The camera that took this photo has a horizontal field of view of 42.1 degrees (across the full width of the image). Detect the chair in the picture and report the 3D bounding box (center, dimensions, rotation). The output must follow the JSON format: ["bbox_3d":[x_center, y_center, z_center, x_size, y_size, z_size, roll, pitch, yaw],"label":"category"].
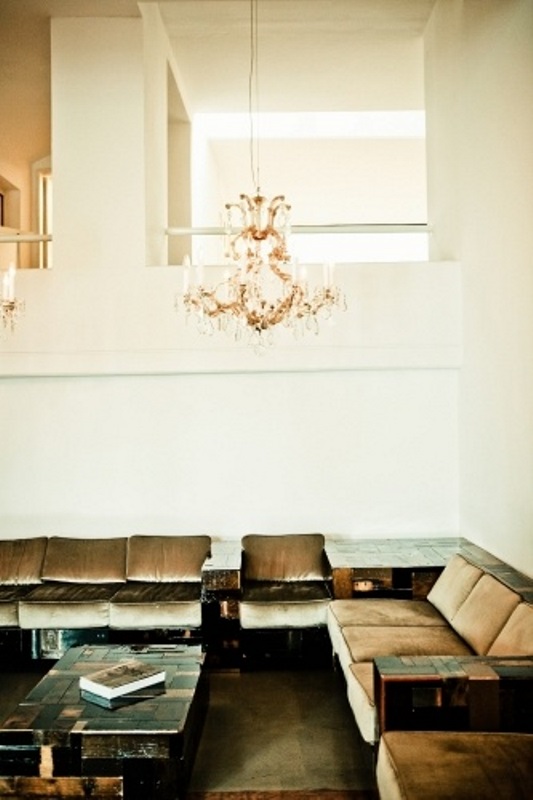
[{"bbox_3d":[0.116,1.407,4.911,0.583,0.817,0.673,1,2,7],"label":"chair"}]
